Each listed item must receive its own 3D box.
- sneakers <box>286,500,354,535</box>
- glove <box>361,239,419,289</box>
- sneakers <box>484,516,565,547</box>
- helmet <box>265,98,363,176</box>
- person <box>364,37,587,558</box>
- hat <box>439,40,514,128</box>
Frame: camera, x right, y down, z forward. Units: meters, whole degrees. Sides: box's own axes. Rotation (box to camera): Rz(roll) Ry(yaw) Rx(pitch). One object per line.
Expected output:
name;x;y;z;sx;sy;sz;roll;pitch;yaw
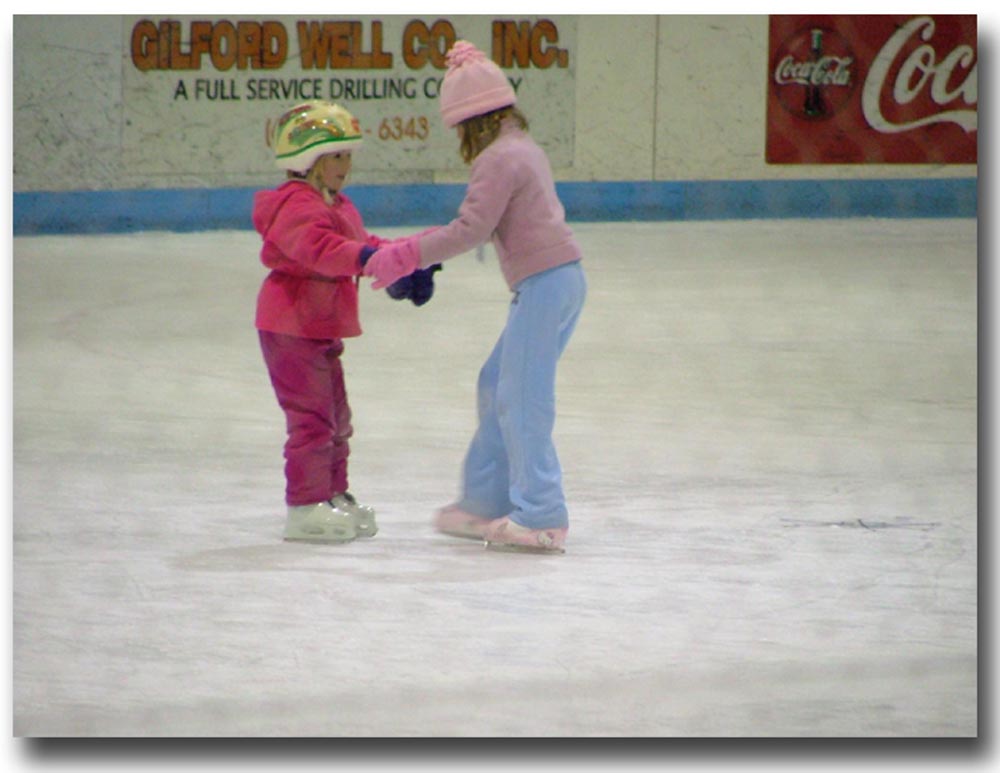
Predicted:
sneakers;-0.500;0.365;4.166;0.171;0.089;0.085;-1;2;2
glove;-0.318;-0.302;4.098;0.095;0.151;0.203;-5;0;2
sneakers;0.058;0.400;4.130;0.222;0.084;0.076;5;-3;10
helmet;-0.507;-0.697;4.251;0.293;0.198;0.218;-4;17;12
person;-0.049;-0.256;4.148;0.539;1.380;0.297;3;7;8
hat;-0.066;-0.849;4.176;0.241;0.209;0.207;-5;13;31
